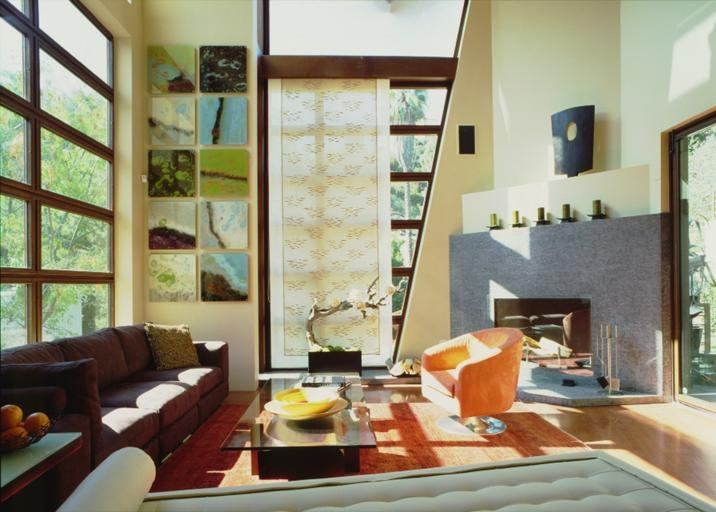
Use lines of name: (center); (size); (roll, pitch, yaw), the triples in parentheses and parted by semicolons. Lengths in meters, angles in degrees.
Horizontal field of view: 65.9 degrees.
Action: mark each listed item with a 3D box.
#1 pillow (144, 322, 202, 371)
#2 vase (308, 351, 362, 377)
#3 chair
pillow: (-1.996, 0.956, 5.935); (0.160, 0.489, 0.547); (-38, -20, 30)
vase: (-0.269, 1.262, 6.533); (0.558, 0.209, 0.290); (0, 1, 4)
chair: (1.093, 1.154, 5.421); (1.026, 1.017, 1.034); (3, -7, -16)
